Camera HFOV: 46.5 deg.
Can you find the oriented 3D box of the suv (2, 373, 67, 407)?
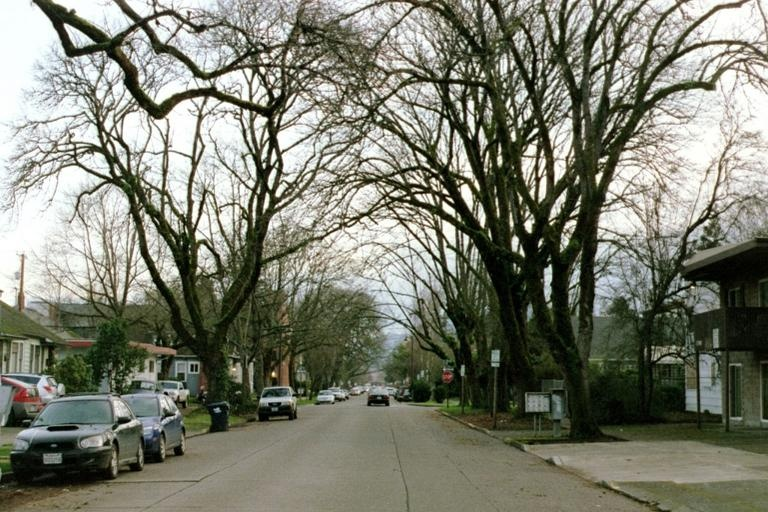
[{"bbox_3d":[-14.907,5.729,37.954,3.063,1.225,1.600,3,-9,6],"label":"suv"}]

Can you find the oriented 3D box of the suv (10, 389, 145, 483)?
[{"bbox_3d":[-9.377,5.454,27.353,3.728,2.788,2.077,7,-18,-24],"label":"suv"}]

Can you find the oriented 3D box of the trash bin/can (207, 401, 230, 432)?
[{"bbox_3d":[-7.943,7.757,43.262,1.079,1.670,1.335,-1,-3,-3],"label":"trash bin/can"}]

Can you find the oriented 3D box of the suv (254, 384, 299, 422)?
[{"bbox_3d":[-6.356,8.706,52.840,2.225,2.460,2.965,1,-18,-8],"label":"suv"}]
